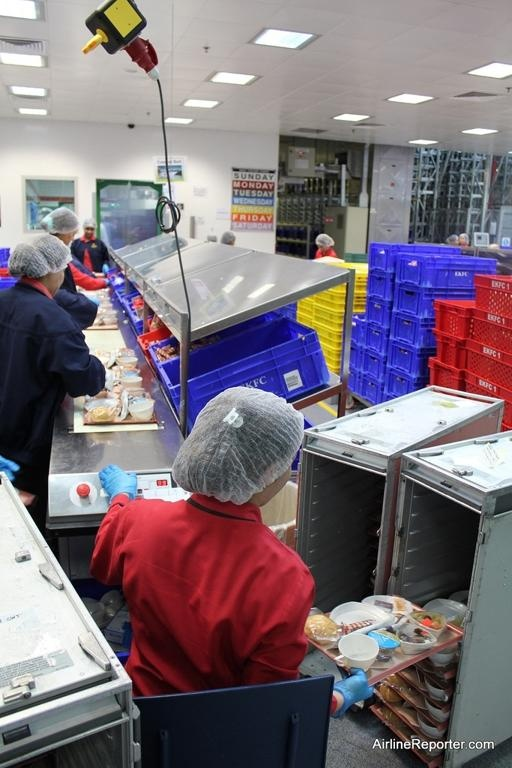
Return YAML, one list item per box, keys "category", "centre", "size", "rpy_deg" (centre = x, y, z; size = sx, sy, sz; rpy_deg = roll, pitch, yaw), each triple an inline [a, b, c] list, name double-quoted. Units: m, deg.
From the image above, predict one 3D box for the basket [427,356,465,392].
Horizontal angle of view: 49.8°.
- category: "basket"
  centre: [1.273, -0.066, 3.655]
  size: [0.198, 0.119, 0.197]
  rpy_deg: [-10, 18, -37]

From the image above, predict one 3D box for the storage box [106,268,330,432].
- category: "storage box"
  centre: [-0.114, -0.048, 2.626]
  size: [0.711, 0.218, 0.705]
  rpy_deg: [-18, 49, -13]

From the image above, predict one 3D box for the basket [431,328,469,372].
- category: "basket"
  centre: [1.343, -0.227, 3.819]
  size: [0.217, 0.256, 0.359]
  rpy_deg: [1, 13, 5]

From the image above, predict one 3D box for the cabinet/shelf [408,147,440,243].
- category: "cabinet/shelf"
  centre: [3.796, -4.247, 12.489]
  size: [0.542, 1.751, 1.067]
  rpy_deg: [5, 5, -7]

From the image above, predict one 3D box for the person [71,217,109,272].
- category: "person"
  centre: [-2.278, -1.746, 7.431]
  size: [0.557, 0.797, 0.467]
  rpy_deg: [0, 5, -15]

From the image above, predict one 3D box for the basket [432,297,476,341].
- category: "basket"
  centre: [1.329, -0.439, 3.744]
  size: [0.290, 0.209, 0.289]
  rpy_deg: [-14, 21, -34]

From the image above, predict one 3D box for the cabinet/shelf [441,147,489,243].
- category: "cabinet/shelf"
  centre: [4.811, -4.278, 12.695]
  size: [1.116, 1.999, 0.919]
  rpy_deg: [2, 15, 11]
